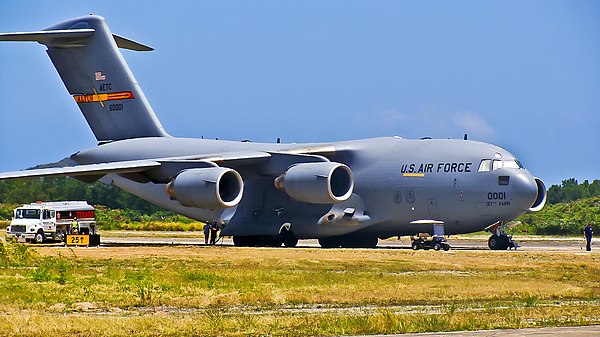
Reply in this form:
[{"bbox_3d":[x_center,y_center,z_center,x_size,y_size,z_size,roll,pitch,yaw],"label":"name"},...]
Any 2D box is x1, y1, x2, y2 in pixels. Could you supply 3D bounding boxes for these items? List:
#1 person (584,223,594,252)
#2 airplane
[{"bbox_3d":[11.359,2.889,32.469,0.255,0.971,2.080,3,9,18],"label":"person"},{"bbox_3d":[-0.945,0.332,32.044,13.289,4.871,13.276,1,2,25],"label":"airplane"}]
